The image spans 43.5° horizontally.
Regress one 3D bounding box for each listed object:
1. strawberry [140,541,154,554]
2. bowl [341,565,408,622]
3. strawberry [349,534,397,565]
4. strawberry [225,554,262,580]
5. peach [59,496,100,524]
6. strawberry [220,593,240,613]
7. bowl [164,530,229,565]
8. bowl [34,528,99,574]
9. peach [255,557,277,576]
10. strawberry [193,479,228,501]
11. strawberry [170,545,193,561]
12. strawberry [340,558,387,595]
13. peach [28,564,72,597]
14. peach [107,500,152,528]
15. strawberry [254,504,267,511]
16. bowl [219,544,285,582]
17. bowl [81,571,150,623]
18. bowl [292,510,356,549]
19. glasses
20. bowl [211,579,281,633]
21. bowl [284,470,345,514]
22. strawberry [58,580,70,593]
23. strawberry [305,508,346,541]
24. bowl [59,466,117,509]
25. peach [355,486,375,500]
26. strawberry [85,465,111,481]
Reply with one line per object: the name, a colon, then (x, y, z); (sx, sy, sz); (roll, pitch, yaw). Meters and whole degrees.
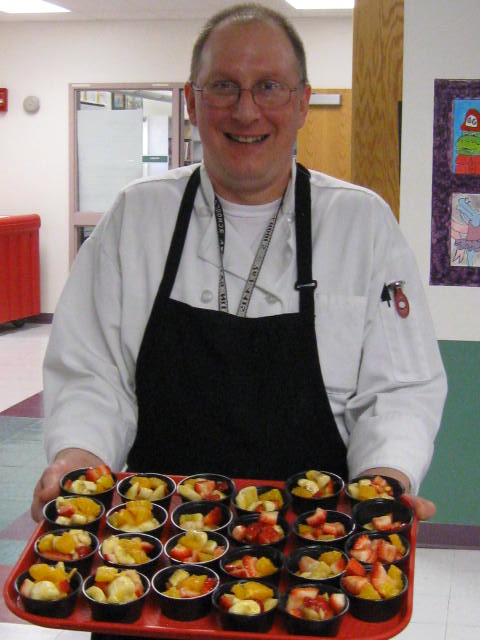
strawberry: (-0.124, 0.306, 0.809); (0.004, 0.015, 0.016); (-35, -8, -5)
bowl: (0.156, 0.304, 0.683); (0.054, 0.031, 0.058); (0, 1, 0)
strawberry: (0.172, 0.288, 0.765); (0.031, 0.012, 0.032); (3, 17, 16)
strawberry: (0.000, 0.306, 0.743); (0.023, 0.008, 0.023); (-1, 3, -44)
peach: (-0.231, 0.272, 0.872); (0.037, 0.014, 0.037); (13, -2, 5)
strawberry: (-0.012, 0.311, 0.661); (0.014, 0.008, 0.015); (9, 5, 42)
bowl: (-0.056, 0.304, 0.801); (0.075, 0.032, 0.072); (0, 8, 0)
bowl: (-0.224, 0.300, 0.785); (0.092, 0.042, 0.098); (0, 7, 0)
peach: (0.033, 0.306, 0.741); (0.019, 0.013, 0.016); (5, 4, -9)
strawberry: (-0.046, 0.272, 0.962); (0.032, 0.010, 0.030); (23, 11, -15)
strawberry: (-0.076, 0.303, 0.782); (0.017, 0.008, 0.016); (7, 1, -43)
strawberry: (0.143, 0.302, 0.706); (0.038, 0.025, 0.039); (3, 9, 15)
peach: (-0.223, 0.303, 0.707); (0.035, 0.018, 0.032); (2, 0, 29)
peach: (-0.165, 0.276, 0.863); (0.042, 0.018, 0.041); (-14, 24, -40)
strawberry: (0.031, 0.280, 0.893); (0.011, 0.010, 0.011); (-3, 3, 6)
bowl: (0.015, 0.306, 0.751); (0.073, 0.026, 0.056); (-5, 10, -32)
bowl: (-0.141, 0.299, 0.688); (0.081, 0.042, 0.061); (-3, 9, -7)
bowl: (0.123, 0.286, 0.857); (0.067, 0.039, 0.069); (3, 8, 0)
glasses: (0.020, -0.438, 1.174); (0.185, 0.056, 0.058); (-1, 13, -2)
bowl: (0.009, 0.313, 0.660); (0.074, 0.033, 0.066); (-2, 9, -20)
bowl: (0.117, 0.266, 0.932); (0.087, 0.057, 0.085); (1, 12, 0)
strawberry: (-0.203, 0.309, 0.695); (0.010, 0.018, 0.012); (-7, 5, 3)
strawberry: (0.120, 0.289, 0.851); (0.033, 0.016, 0.037); (6, 7, 38)
bowl: (-0.234, 0.261, 0.946); (0.065, 0.042, 0.064); (2, -8, 0)
peach: (0.188, 0.260, 0.902); (0.023, 0.016, 0.022); (-2, 3, 11)
strawberry: (-0.232, 0.245, 0.975); (0.026, 0.009, 0.024); (5, 13, 6)
